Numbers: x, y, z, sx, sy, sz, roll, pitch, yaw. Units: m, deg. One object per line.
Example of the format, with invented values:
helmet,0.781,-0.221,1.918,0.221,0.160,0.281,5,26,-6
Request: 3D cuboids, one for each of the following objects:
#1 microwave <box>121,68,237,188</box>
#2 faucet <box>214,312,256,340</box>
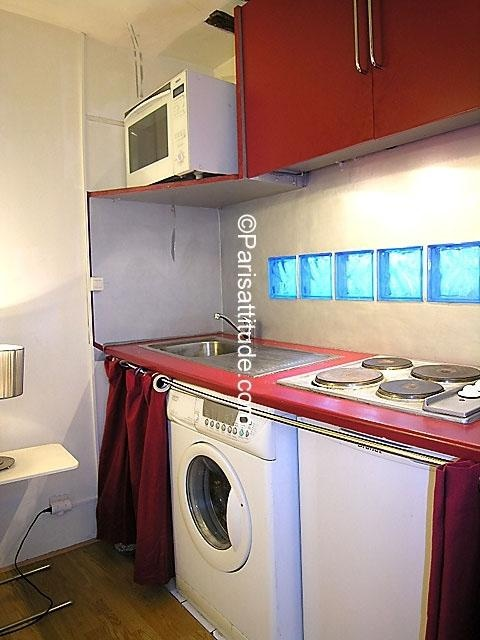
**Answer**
microwave,-0.267,-0.741,2.069,0.288,0.352,0.511,-6,6,-39
faucet,-0.028,0.019,2.442,0.195,0.146,0.483,-4,6,-3
